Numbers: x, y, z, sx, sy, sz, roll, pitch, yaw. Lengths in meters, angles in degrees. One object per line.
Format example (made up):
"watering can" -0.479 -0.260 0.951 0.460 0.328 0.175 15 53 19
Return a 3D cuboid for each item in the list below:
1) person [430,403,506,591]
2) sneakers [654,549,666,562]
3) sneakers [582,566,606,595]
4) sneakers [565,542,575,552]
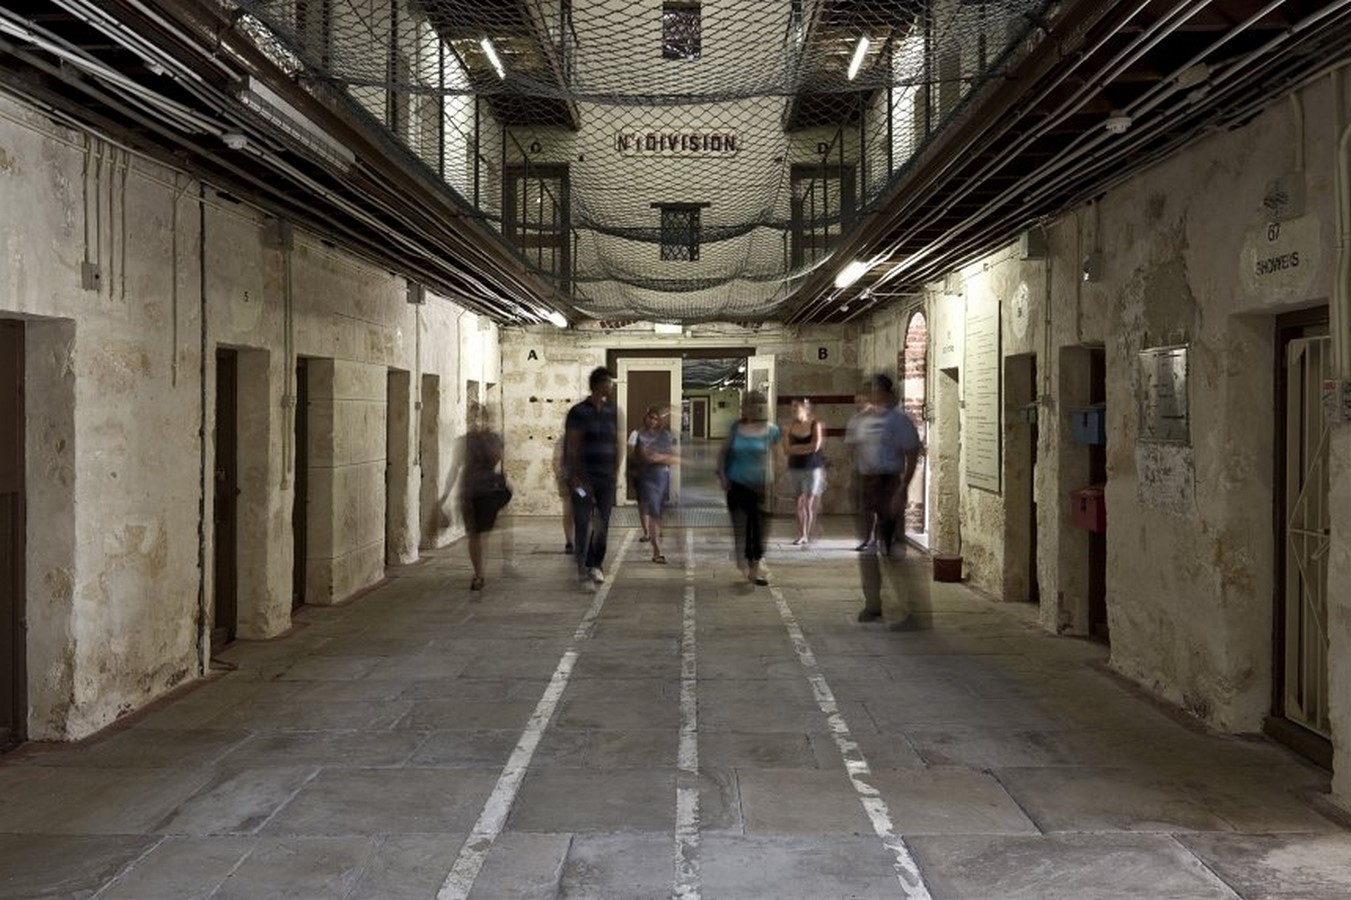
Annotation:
"person" -2.098 0.504 9.790 0.699 1.956 0.828 -2 8 -14
"sneakers" -0.198 1.289 11.538 0.130 0.111 0.269 -1 -9 -3
"sneakers" -0.854 1.347 9.755 0.185 0.206 0.539 0 -10 -1
"sneakers" -1.347 1.237 12.062 0.115 0.142 0.338 1 -6 -2
